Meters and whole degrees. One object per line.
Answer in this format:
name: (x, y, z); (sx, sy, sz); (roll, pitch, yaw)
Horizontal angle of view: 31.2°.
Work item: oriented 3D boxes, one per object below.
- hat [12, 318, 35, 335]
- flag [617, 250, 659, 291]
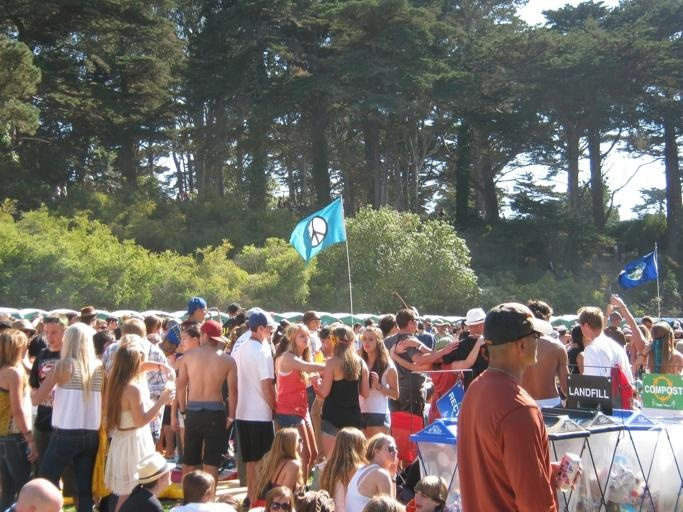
hat: (-12.140, 2.713, 46.913); (0.646, 0.292, 0.601); (3, -8, 12)
flag: (16.034, 0.929, 66.600); (1.990, 1.684, 0.357); (-19, 0, 6)
